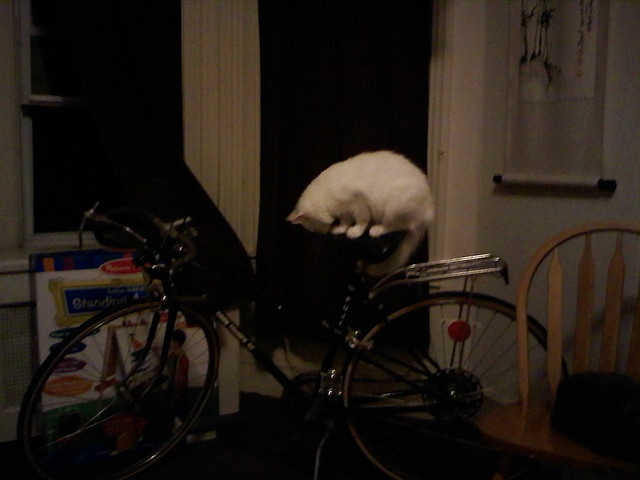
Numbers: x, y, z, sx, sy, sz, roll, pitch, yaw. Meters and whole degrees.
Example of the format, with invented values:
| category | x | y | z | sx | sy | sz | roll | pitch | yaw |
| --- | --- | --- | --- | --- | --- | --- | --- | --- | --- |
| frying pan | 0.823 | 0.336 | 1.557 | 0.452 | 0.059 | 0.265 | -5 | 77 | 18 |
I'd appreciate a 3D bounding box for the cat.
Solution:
| category | x | y | z | sx | sy | sz | roll | pitch | yaw |
| --- | --- | --- | --- | --- | --- | --- | --- | --- | --- |
| cat | 0.157 | -0.102 | 2.277 | 0.551 | 0.468 | 0.129 | -2 | 8 | -16 |
